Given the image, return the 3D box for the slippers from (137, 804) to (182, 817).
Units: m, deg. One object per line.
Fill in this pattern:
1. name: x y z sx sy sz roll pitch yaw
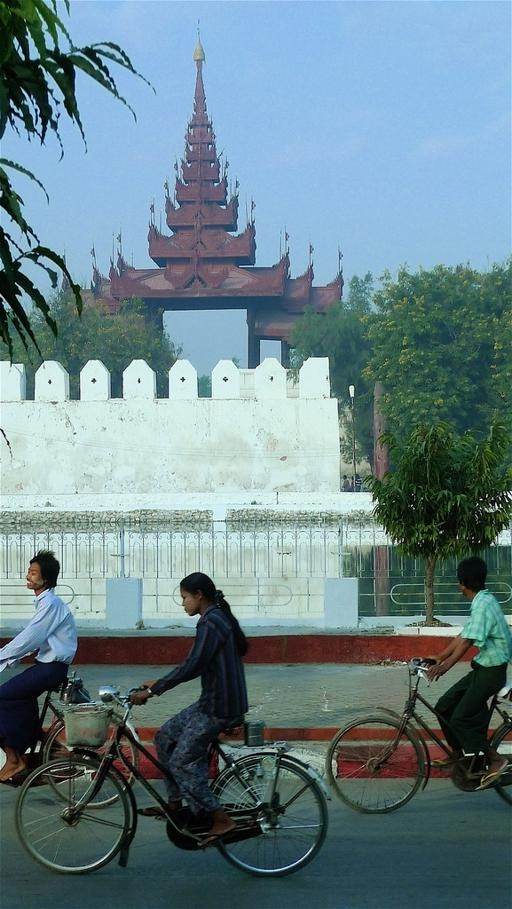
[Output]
1. slippers: -0.348 1.284 5.239 0.138 0.043 0.058 1 -4 1

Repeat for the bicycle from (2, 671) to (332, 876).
1. bicycle: -0.283 1.222 5.586 1.232 0.868 0.567 1 -6 0

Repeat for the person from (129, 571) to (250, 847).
1. person: -0.239 0.911 5.300 0.408 0.948 0.273 0 -3 -1

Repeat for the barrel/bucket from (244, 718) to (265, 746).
1. barrel/bucket: -0.004 1.034 5.436 0.076 0.096 0.080 0 6 0
